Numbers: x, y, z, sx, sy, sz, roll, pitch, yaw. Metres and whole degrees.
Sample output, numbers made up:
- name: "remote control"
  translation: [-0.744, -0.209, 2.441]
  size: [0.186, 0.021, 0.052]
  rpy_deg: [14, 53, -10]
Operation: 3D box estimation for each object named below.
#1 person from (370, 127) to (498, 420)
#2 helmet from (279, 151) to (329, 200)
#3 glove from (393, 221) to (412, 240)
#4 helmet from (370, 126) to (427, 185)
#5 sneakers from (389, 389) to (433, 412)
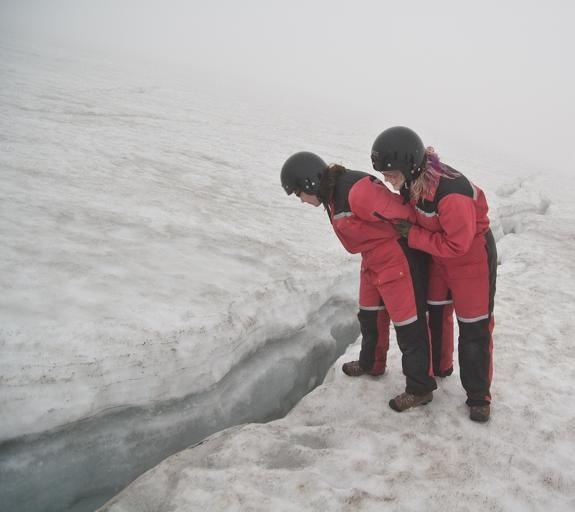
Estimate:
- name: "person"
  translation: [1.142, 0.132, 3.352]
  size: [0.707, 2.026, 0.725]
  rpy_deg: [2, 20, 32]
- name: "helmet"
  translation: [0.133, -0.576, 3.379]
  size: [0.346, 0.316, 0.264]
  rpy_deg: [30, -38, -33]
- name: "glove"
  translation: [0.786, -0.194, 3.083]
  size: [0.076, 0.140, 0.032]
  rpy_deg: [-13, 11, 32]
- name: "helmet"
  translation: [0.753, -0.749, 3.163]
  size: [0.376, 0.429, 0.320]
  rpy_deg: [-24, 28, -22]
- name: "sneakers"
  translation: [0.937, 1.112, 3.571]
  size: [0.362, 0.184, 0.143]
  rpy_deg: [-10, 39, 0]
